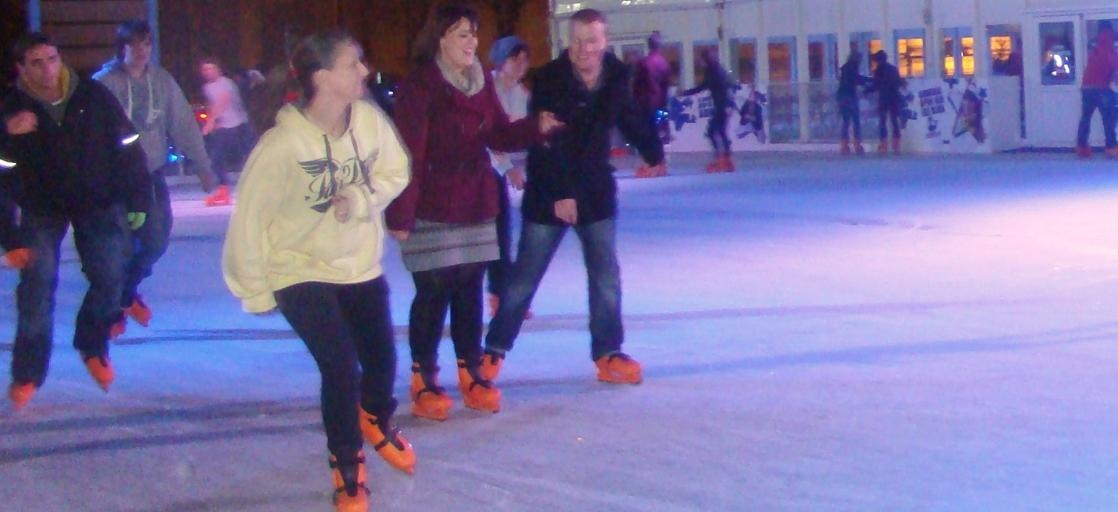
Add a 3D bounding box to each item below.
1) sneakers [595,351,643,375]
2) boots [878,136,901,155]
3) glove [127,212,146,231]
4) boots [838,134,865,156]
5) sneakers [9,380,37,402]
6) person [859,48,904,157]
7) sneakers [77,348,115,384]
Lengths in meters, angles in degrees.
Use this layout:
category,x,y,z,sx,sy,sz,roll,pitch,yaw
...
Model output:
category,x,y,z,sx,sy,sz,roll,pitch,yaw
sneakers,0.572,1.019,8.071,0.399,0.180,0.195,-3,1,18
boots,8.537,-2.822,22.146,0.587,0.551,0.392,3,8,43
glove,-4.041,-0.325,8.191,0.172,0.178,0.176,1,6,-6
boots,7.772,-2.937,22.636,0.707,0.616,0.263,-3,-12,12
sneakers,-4.884,1.235,7.784,0.228,0.180,0.063,-5,11,-10
person,8.332,-3.904,21.730,0.769,2.530,1.060,2,12,25
sneakers,-4.412,1.064,8.159,0.216,0.373,0.113,-30,-4,-12
